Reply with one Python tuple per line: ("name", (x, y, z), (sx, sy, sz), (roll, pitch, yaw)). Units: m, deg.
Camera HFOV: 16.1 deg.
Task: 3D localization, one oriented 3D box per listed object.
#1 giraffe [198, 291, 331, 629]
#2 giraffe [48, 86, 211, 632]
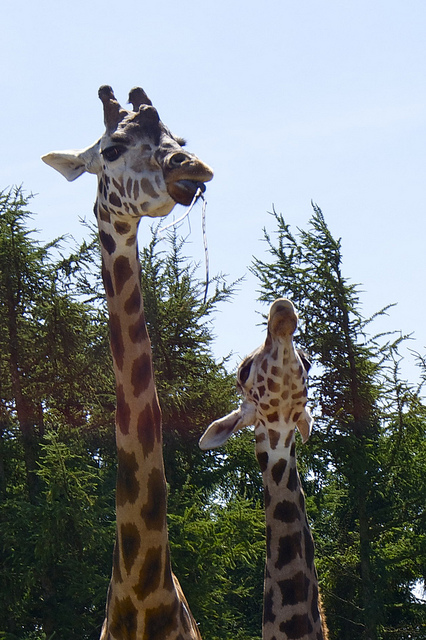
("giraffe", (0.419, 1.147, 11.824), (0.743, 2.427, 1.099), (-4, -14, 3))
("giraffe", (-0.563, 0.210, 12.117), (0.675, 4.359, 1.649), (-2, -14, -7))
